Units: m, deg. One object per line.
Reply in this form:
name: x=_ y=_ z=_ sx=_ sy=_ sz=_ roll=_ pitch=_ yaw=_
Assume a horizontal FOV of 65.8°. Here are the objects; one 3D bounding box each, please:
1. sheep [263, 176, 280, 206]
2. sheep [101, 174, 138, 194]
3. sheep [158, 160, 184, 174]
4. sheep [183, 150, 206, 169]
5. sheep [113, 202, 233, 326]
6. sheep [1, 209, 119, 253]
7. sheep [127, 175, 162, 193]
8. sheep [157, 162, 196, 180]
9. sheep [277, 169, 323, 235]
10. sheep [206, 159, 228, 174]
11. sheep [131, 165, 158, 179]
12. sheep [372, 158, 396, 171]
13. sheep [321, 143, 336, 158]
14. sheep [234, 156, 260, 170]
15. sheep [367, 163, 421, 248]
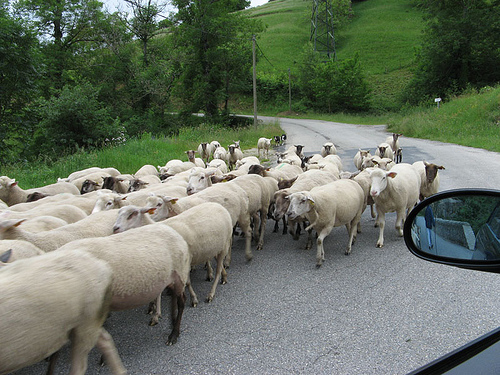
sheep: x=0.586 y=0.066 z=10.420 sx=0.419 sy=0.649 sz=1.012 roll=-2 pitch=14 yaw=2
sheep: x=-3.793 y=-0.137 z=11.216 sx=0.452 sy=0.619 sz=1.151 roll=-2 pitch=6 yaw=4
sheep: x=-3.037 y=-0.731 z=14.068 sx=0.383 sy=0.560 sz=1.045 roll=-8 pitch=8 yaw=7
sheep: x=-2.392 y=-1.288 z=17.020 sx=0.532 sy=0.897 sz=1.459 roll=-16 pitch=25 yaw=-14
sheep: x=-1.281 y=1.303 z=6.405 sx=0.603 sy=1.245 sz=1.697 roll=10 pitch=11 yaw=30
sheep: x=-3.276 y=0.779 z=6.858 sx=0.781 sy=0.976 sz=1.739 roll=-5 pitch=0 yaw=44
sheep: x=-3.014 y=-0.128 z=10.918 sx=0.421 sy=0.517 sz=0.956 roll=0 pitch=4 yaw=24
sheep: x=-2.538 y=-0.630 z=13.597 sx=0.514 sy=0.861 sz=1.588 roll=2 pitch=11 yaw=28
sheep: x=1.319 y=0.365 z=11.059 sx=0.673 sy=1.037 sz=1.901 roll=-17 pitch=-23 yaw=30
sheep: x=-1.209 y=-0.832 z=14.346 sx=0.360 sy=0.607 sz=1.132 roll=-10 pitch=-2 yaw=1
sheep: x=-3.640 y=-0.608 z=13.121 sx=0.369 sy=0.575 sz=1.082 roll=-13 pitch=4 yaw=14
sheep: x=4.067 y=-0.704 z=11.857 sx=0.368 sy=0.516 sz=0.983 roll=10 pitch=6 yaw=36
sheep: x=3.546 y=-1.721 z=17.511 sx=0.405 sy=0.636 sz=1.015 roll=-1 pitch=8 yaw=10
sheep: x=-0.129 y=-0.936 z=13.993 sx=1.100 sy=0.602 sz=0.392 roll=-15 pitch=10 yaw=-40
sheep: x=3.428 y=0.286 z=9.382 sx=0.856 sy=1.600 sz=2.378 roll=7 pitch=18 yaw=35
